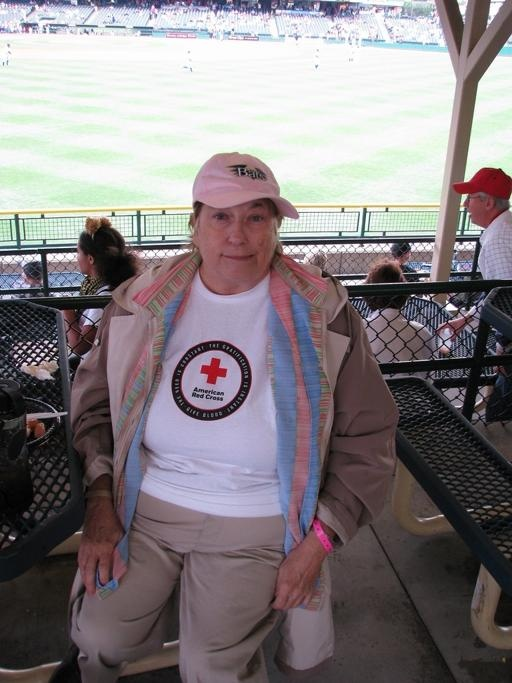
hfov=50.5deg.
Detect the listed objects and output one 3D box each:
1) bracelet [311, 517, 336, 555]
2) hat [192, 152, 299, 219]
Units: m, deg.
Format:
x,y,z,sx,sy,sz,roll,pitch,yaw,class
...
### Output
x,y,z,sx,sy,sz,roll,pitch,yaw,class
0.146,0.418,1.162,0.018,0.062,0.065,-38,14,-3,bracelet
-0.034,-0.340,1.231,0.169,0.111,0.221,-7,17,-37,hat
